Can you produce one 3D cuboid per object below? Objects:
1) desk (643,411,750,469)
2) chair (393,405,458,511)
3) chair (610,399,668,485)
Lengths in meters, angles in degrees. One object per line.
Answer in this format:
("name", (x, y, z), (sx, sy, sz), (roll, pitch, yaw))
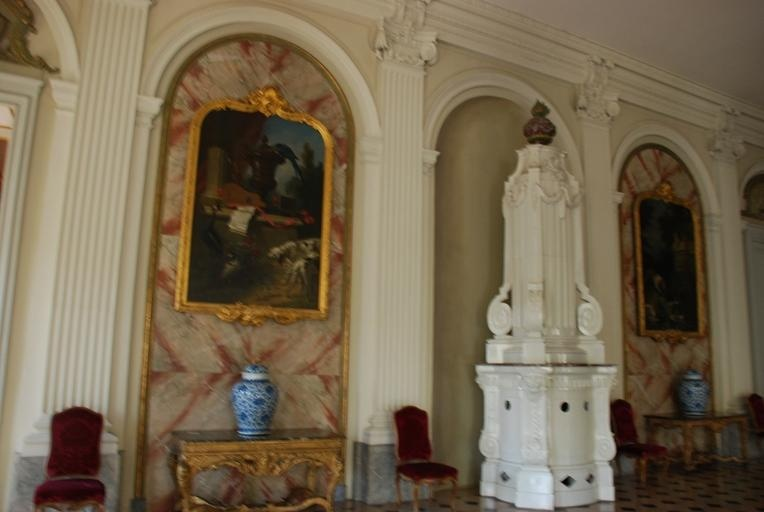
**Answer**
("desk", (5.509, 3.175, 12.766), (1.525, 0.745, 1.074), (5, -7, -30))
("chair", (0.582, 2.788, 10.172), (0.813, 1.435, 0.763), (-2, -14, 0))
("chair", (4.090, 2.947, 11.781), (0.726, 1.294, 1.302), (-6, -15, 14))
